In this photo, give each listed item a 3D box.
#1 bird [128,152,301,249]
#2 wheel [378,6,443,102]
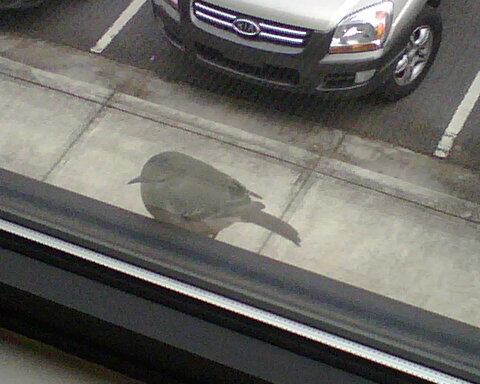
[{"bbox_3d":[-0.151,0.029,4.259,0.821,0.286,0.327,22,78,12],"label":"bird"},{"bbox_3d":[0.994,-0.808,5.247,0.157,0.453,0.476,27,50,33],"label":"wheel"}]
